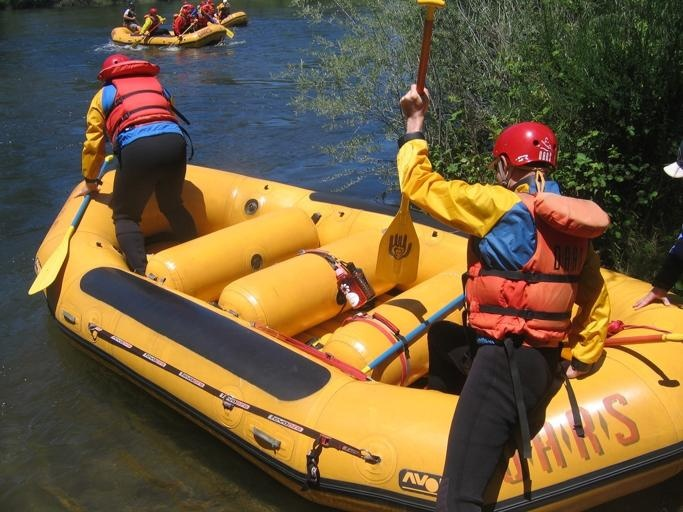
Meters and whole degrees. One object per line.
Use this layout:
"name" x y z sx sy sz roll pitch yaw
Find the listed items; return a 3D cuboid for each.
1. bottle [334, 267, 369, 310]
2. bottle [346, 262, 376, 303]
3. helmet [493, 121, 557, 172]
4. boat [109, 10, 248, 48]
"bottle" 0.089 0.247 5.486 0.211 0.374 0.129 -27 -8 9
"bottle" 0.144 0.216 5.535 0.167 0.128 0.340 -11 63 -48
"helmet" 1.092 -0.667 4.054 0.247 0.274 0.334 -5 33 -24
"boat" -4.927 -6.341 19.566 3.512 0.820 1.931 1 15 15
